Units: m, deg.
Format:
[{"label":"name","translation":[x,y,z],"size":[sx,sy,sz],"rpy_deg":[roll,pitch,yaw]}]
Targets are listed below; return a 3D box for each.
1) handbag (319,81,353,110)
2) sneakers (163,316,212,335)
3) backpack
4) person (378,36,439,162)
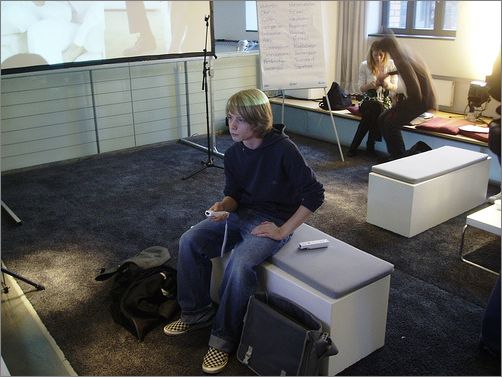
[{"label":"handbag","translation":[1.281,-1.325,5.194],"size":[0.472,0.489,0.299],"rpy_deg":[-9,-4,-44]},{"label":"sneakers","translation":[-0.366,0.739,2.019],"size":[0.261,0.112,0.100],"rpy_deg":[-5,14,-17]},{"label":"backpack","translation":[-0.612,0.642,2.279],"size":[0.621,0.280,0.781],"rpy_deg":[-8,-6,-19]},{"label":"person","translation":[1.827,-1.055,4.200],"size":[0.729,1.412,0.331],"rpy_deg":[10,26,28]}]
